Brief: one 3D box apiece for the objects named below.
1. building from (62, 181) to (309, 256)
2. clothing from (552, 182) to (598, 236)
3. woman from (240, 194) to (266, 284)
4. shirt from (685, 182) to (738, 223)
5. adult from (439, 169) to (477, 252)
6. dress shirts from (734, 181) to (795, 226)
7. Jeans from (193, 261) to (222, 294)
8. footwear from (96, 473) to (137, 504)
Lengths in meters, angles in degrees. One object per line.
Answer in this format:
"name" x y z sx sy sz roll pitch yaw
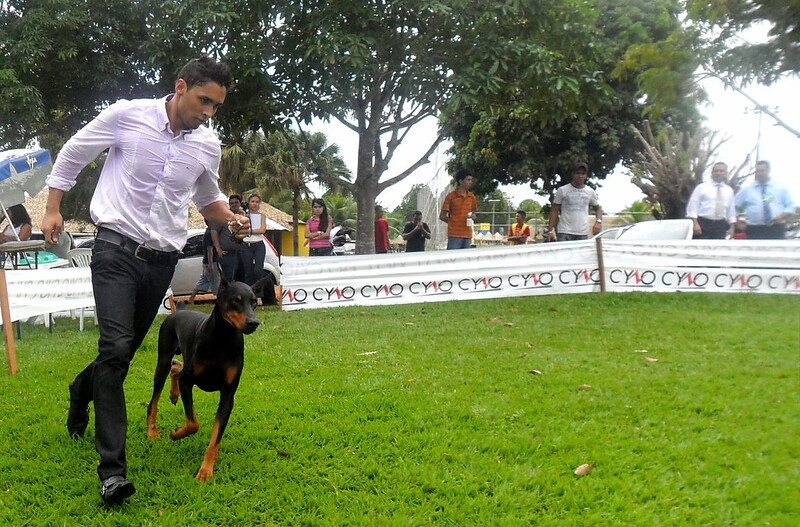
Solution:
"building" -9.383 -1.692 37.508 8.285 4.201 5.039 4 4 -7
"clothing" 3.195 -0.978 12.371 0.755 0.906 0.475 -1 1 13
"woman" -2.655 -0.334 12.349 0.513 1.808 0.473 -6 9 -42
"shirt" 5.558 -1.084 12.163 0.802 0.767 0.435 -1 1 24
"adult" 1.187 -0.737 13.277 0.710 2.139 0.653 -1 21 -1
"dress shirts" 5.857 -0.962 11.071 0.594 0.673 1.999 -1 1 21
"Jeans" -3.348 0.267 11.907 0.549 0.648 0.257 9 10 29
"footwear" -2.392 1.930 5.803 0.260 0.277 0.184 -2 1 -21
